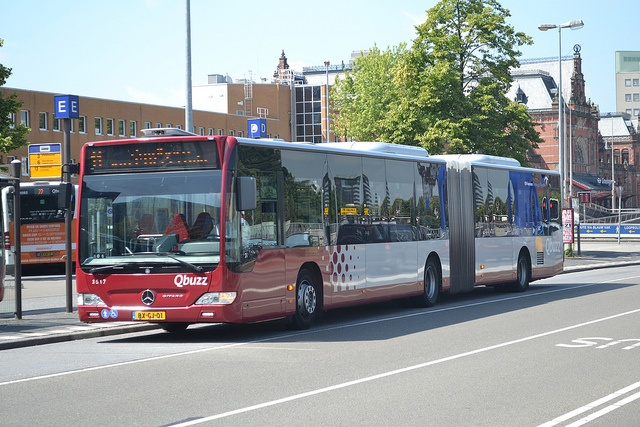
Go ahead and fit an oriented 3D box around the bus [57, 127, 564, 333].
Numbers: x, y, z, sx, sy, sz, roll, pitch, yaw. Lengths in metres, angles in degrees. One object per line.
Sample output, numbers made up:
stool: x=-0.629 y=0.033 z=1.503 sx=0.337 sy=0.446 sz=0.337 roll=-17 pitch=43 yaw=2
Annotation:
bus: x=2.017 y=0.425 z=20.931 sx=3.534 sy=4.814 sz=18.978 roll=1 pitch=2 yaw=39
